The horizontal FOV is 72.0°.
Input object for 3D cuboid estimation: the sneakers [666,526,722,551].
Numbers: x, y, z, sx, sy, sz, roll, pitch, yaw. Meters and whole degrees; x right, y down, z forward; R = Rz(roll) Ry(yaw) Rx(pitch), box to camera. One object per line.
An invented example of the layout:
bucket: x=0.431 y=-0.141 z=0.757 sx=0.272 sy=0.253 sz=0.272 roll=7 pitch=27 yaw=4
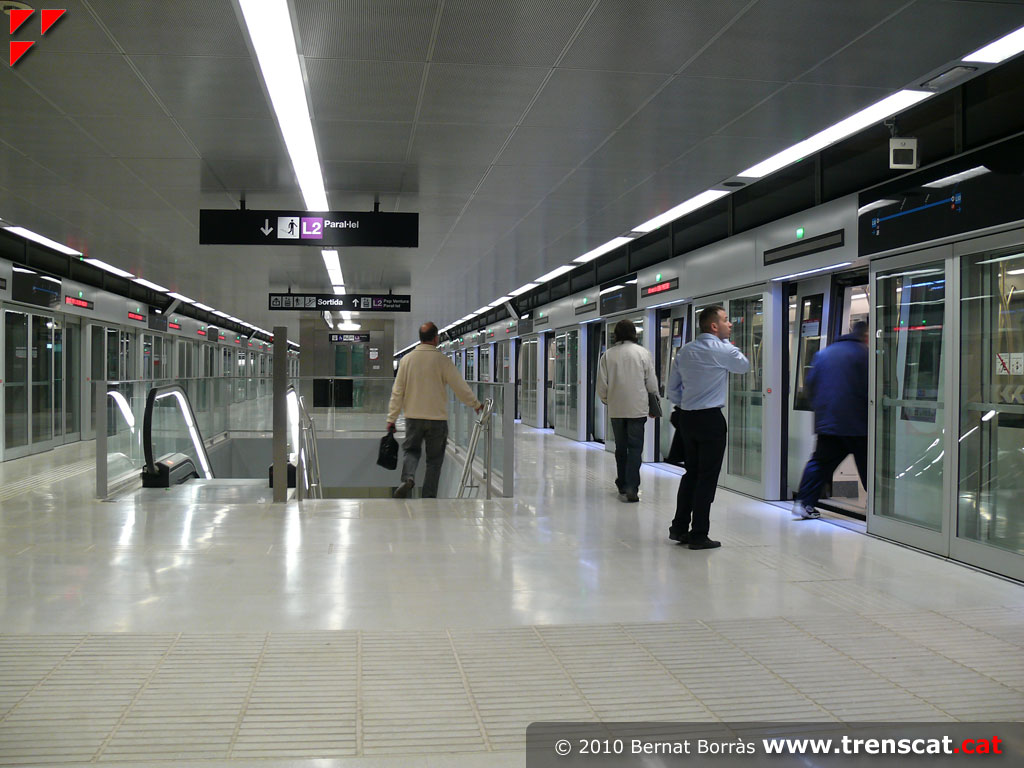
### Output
sneakers: x=1.443 y=1.241 z=5.671 sx=0.317 sy=0.127 sz=0.176 roll=-1 pitch=2 yaw=1

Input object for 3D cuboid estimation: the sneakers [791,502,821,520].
sneakers: x=2.859 y=1.225 z=6.846 sx=0.288 sy=0.114 sz=0.147 roll=-1 pitch=4 yaw=-11
